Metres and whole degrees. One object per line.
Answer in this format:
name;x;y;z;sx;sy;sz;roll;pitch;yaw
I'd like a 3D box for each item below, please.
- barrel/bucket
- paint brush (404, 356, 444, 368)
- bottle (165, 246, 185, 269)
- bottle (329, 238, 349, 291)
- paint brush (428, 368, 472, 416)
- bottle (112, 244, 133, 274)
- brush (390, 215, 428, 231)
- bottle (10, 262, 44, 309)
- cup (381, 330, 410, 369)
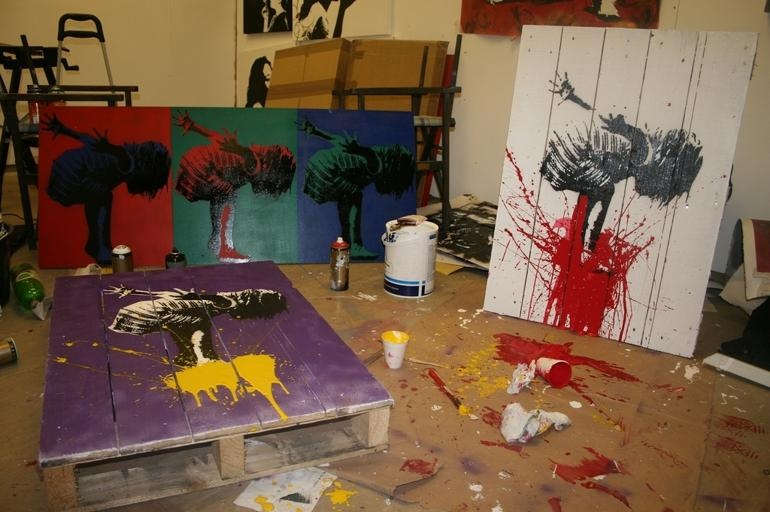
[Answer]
barrel/bucket;0.114;-0.038;3.920;0.490;0.573;0.481;1;18;0
paint brush;0.219;0.617;3.121;0.165;0.015;0.033;12;15;13
bottle;-1.467;0.006;3.775;0.138;0.157;0.139;3;8;33
bottle;-0.336;0.049;3.815;0.147;0.374;0.124;1;17;6
paint brush;0.349;0.731;2.919;0.099;0.044;0.293;-15;31;-22
bottle;-1.804;0.023;3.665;0.158;0.224;0.142;-2;17;-20
brush;0.146;-0.236;3.742;0.162;0.043;0.141;-9;7;26
bottle;-2.349;0.163;3.511;0.162;0.119;0.324;-18;61;-38
cup;0.054;0.552;3.087;0.155;0.164;0.157;3;6;0
